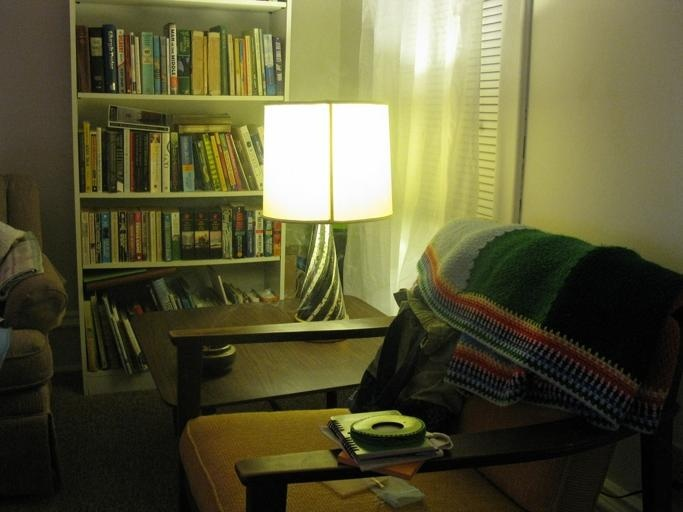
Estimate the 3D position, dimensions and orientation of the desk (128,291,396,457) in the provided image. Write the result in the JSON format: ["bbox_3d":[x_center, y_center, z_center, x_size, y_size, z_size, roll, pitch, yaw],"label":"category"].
[{"bbox_3d":[-0.269,0.169,1.843,0.672,0.325,0.524,-6,20,-24],"label":"desk"}]

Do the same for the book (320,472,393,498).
[{"bbox_3d":[0.033,0.560,1.401,0.089,0.013,0.092,-1,4,-9],"label":"book"}]

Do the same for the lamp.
[{"bbox_3d":[-0.062,-0.144,2.161,0.511,0.786,0.502,-4,9,-38],"label":"lamp"}]

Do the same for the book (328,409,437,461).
[{"bbox_3d":[0.086,0.376,1.184,0.109,0.025,0.104,-3,12,-21],"label":"book"}]
